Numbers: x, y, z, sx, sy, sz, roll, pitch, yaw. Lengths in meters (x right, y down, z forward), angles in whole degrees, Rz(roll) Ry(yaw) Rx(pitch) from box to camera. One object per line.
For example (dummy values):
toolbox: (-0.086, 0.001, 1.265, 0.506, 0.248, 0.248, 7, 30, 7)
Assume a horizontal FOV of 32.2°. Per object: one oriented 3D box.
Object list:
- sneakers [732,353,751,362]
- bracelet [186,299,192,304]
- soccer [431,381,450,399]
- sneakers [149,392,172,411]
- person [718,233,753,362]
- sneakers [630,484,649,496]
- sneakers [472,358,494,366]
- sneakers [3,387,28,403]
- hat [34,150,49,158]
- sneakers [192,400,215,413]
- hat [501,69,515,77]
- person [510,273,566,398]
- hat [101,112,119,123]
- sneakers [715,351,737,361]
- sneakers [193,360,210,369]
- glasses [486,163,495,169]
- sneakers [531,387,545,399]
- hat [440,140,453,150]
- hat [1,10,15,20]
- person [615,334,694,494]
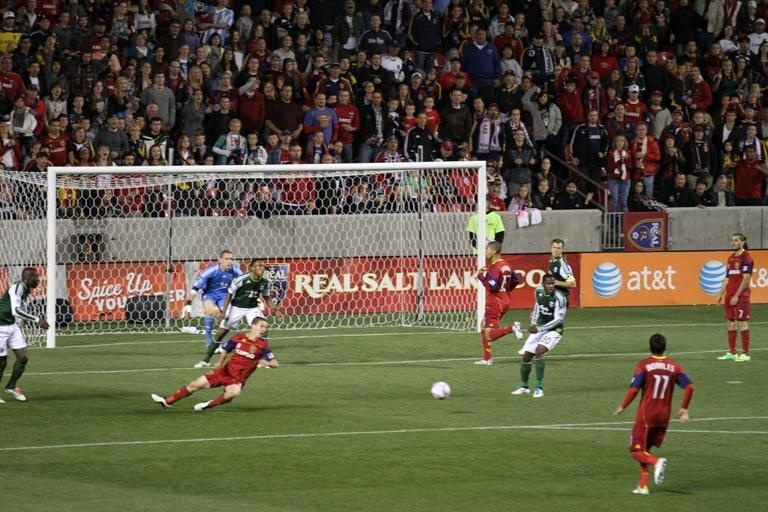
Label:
sneakers: (7.560, 2.134, 27.898, 0.394, 0.137, 0.129, 1, 0, -10)
bracelet: (-4.075, 0.926, 27.355, 0.134, 0.117, 0.121, 4, -12, 13)
soccer: (1.027, 2.394, 23.829, 0.371, 0.228, 0.333, 1, 0, -9)
sneakers: (-4.026, 2.561, 23.788, 0.230, 0.171, 0.507, -21, -45, 39)
person: (7.481, 0.864, 28.054, 0.704, 2.661, 0.726, -2, 1, 12)
sneakers: (4.030, 3.651, 20.678, 0.113, 0.095, 0.267, -3, 2, -17)
sneakers: (2.053, 2.191, 27.381, 0.409, 0.133, 0.136, 2, 2, 15)
sneakers: (-6.819, 2.514, 24.437, 0.528, 0.223, 0.183, 16, 16, 20)
hat: (-8.119, -2.389, 31.248, 0.231, 0.160, 0.154, -3, 7, -21)
sneakers: (-3.260, 2.693, 23.837, 0.322, 0.124, 0.214, -12, -6, 29)
hat: (3.330, -4.901, 35.598, 0.374, 0.163, 0.479, 1, -6, 5)
person: (2.955, 1.494, 25.016, 0.978, 2.284, 0.570, -2, 1, 7)
hat: (-6.756, -3.368, 32.420, 0.387, 0.158, 0.445, -1, 7, -8)
sneakers: (7.262, 2.115, 28.002, 0.459, 0.160, 0.152, 0, 1, 16)
sneakers: (-3.697, 2.190, 26.780, 0.360, 0.121, 0.139, 0, 3, -1)
glasses: (2.780, -2.331, 34.334, 0.187, 0.109, 0.058, -2, 1, -18)
sneakers: (2.912, 2.574, 24.997, 0.230, 0.193, 0.480, -1, -3, 13)
hat: (1.626, -2.868, 34.255, 0.293, 0.267, 0.521, -2, 1, 3)
hat: (-9.476, -6.043, 33.277, 0.267, 0.110, 0.354, -1, 2, -32)
person: (4.311, 2.458, 21.019, 1.131, 2.453, 1.177, -2, 1, 12)
